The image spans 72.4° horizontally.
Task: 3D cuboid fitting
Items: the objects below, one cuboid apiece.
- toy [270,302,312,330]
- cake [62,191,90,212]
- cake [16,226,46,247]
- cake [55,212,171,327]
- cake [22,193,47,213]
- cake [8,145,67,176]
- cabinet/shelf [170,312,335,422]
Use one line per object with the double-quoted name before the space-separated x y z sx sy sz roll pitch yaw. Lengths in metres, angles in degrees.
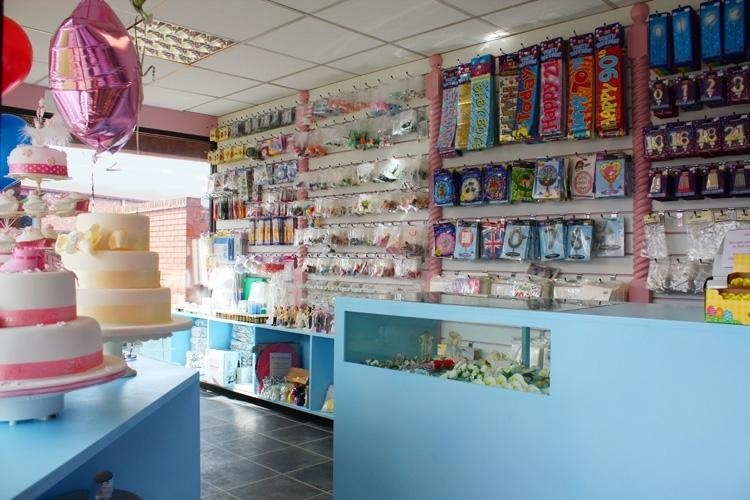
"toy" -0.881 0.719 5.446 0.191 0.211 0.607 5 -4 -35
"cake" -1.439 -0.234 2.486 0.094 0.079 0.091 3 8 18
"cake" -1.507 -0.054 2.262 0.101 0.082 0.096 0 -4 -6
"cake" -1.551 0.103 3.075 0.654 0.528 0.644 1 0 -28
"cake" -1.533 -0.210 2.315 0.087 0.110 0.100 1 0 -35
"cake" -1.714 -0.420 2.623 0.212 0.095 0.210 -1 1 -45
"cabinet/shelf" -1.255 1.260 5.932 2.543 1.146 0.557 1 0 39
